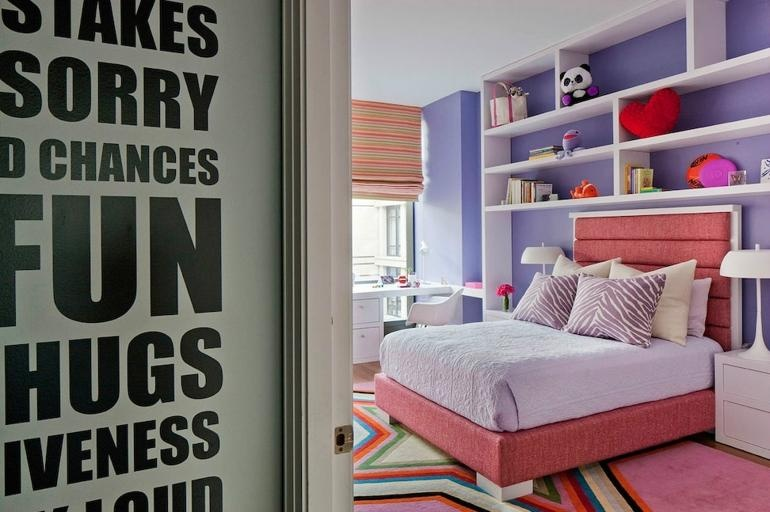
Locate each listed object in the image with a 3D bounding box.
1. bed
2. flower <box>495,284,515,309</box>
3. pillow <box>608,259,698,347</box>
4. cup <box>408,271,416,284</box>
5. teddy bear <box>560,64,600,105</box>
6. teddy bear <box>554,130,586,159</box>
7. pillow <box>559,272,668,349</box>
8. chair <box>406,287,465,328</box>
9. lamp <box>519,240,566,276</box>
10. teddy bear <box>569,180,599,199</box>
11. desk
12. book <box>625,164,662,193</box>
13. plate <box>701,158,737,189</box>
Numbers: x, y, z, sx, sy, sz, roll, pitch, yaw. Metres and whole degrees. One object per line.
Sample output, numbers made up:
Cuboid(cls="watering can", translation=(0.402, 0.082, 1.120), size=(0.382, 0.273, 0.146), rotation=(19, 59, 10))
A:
Cuboid(cls="bed", translation=(1.161, 0.527, 3.971), size=(2.019, 1.431, 1.863), rotation=(-3, 5, -29))
Cuboid(cls="flower", translation=(1.154, 0.393, 5.405), size=(0.219, 0.247, 0.233), rotation=(-5, -5, 45))
Cuboid(cls="pillow", translation=(1.755, 0.329, 3.707), size=(0.230, 0.466, 0.533), rotation=(36, -15, -22))
Cuboid(cls="cup", translation=(0.297, 0.251, 6.305), size=(0.098, 0.174, 0.100), rotation=(0, 2, 0))
Cuboid(cls="teddy bear", translation=(1.557, -1.382, 4.612), size=(0.282, 0.285, 0.237), rotation=(-13, 4, 29))
Cuboid(cls="teddy bear", translation=(1.484, -0.907, 4.669), size=(0.239, 0.200, 0.243), rotation=(-2, 9, -9))
Cuboid(cls="pillow", translation=(1.504, 0.364, 3.850), size=(0.411, 0.557, 0.834), rotation=(6, -3, -37))
Cuboid(cls="chair", translation=(0.468, 0.600, 5.566), size=(0.548, 0.630, 0.551), rotation=(1, 4, 3))
Cuboid(cls="lamp", translation=(1.325, 0.027, 4.918), size=(0.285, 0.364, 0.278), rotation=(-2, 0, -41))
Cuboid(cls="teddy bear", translation=(1.619, -0.538, 4.647), size=(0.195, 0.149, 0.182), rotation=(-12, -8, 41))
Cuboid(cls="desk", translation=(0.066, 0.714, 6.168), size=(1.289, 0.721, 0.483), rotation=(-3, 6, -30))
Cuboid(cls="book", translation=(1.849, -0.547, 4.165), size=(0.273, 0.249, 0.197), rotation=(-2, 2, -34))
Cuboid(cls="plate", translation=(2.250, -0.557, 3.804), size=(0.159, 0.190, 0.245), rotation=(-7, 12, -23))
